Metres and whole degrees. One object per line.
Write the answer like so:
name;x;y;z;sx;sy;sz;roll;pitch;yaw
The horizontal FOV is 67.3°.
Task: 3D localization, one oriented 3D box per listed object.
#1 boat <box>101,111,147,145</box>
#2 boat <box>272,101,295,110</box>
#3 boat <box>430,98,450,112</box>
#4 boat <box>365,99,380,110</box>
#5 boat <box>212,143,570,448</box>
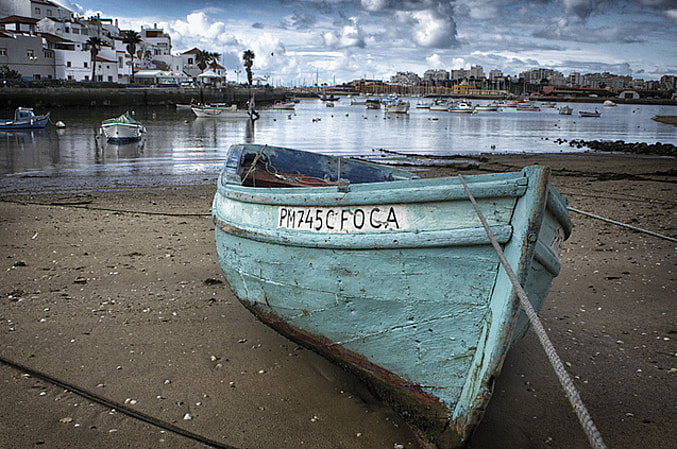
boat;-11.967;-5.412;28.253;1.451;1.238;2.742;-2;19;-18
boat;-8.353;-18.071;77.125;2.728;1.057;1.958;1;9;4
boat;17.161;-20.271;87.379;2.280;2.421;7.551;-1;16;1
boat;5.927;-21.064;88.701;2.207;1.750;3.869;0;9;-2
boat;-0.051;0.371;6.719;2.726;2.113;4.528;9;7;-26
